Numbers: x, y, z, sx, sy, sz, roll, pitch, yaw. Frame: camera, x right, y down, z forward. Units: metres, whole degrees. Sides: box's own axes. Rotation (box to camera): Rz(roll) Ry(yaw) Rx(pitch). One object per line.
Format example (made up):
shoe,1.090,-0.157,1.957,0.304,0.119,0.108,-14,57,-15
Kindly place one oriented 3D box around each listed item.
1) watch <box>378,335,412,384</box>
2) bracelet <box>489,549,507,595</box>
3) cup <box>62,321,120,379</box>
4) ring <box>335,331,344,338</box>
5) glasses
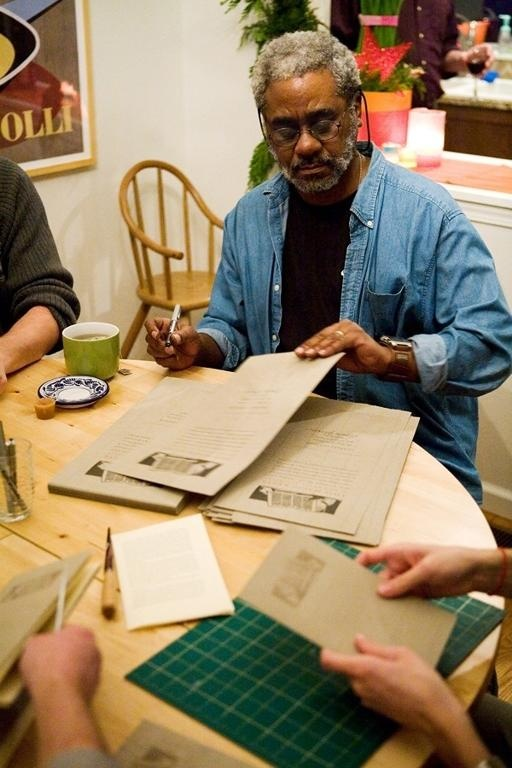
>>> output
watch,0.283,-0.048,1.150,0.055,0.082,0.084,1,13,-1
bracelet,0.277,0.214,0.661,0.010,0.038,0.040,8,63,11
cup,-0.320,-0.066,1.203,0.122,0.104,0.108,4,29,10
ring,0.152,-0.090,1.065,0.013,0.003,0.013,1,35,-1
glasses,0.079,-0.580,1.329,0.219,0.089,0.103,17,25,42
